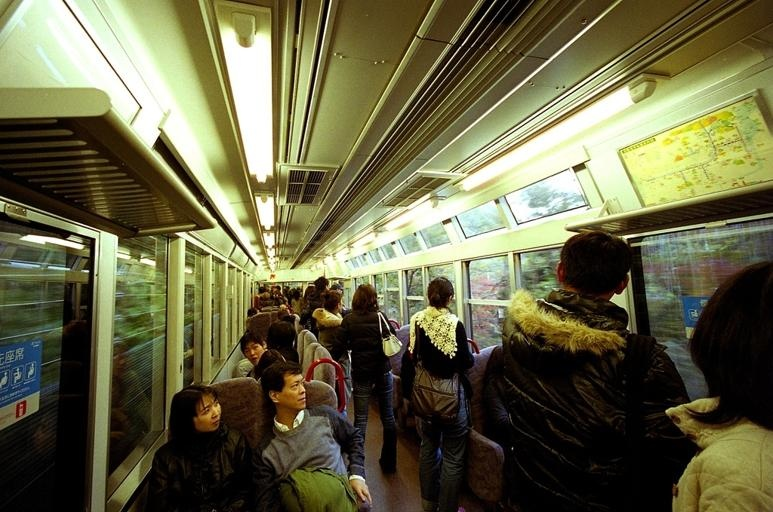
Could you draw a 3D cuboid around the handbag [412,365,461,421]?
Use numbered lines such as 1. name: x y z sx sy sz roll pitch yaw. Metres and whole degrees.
1. handbag: 0.419 1.107 3.829 0.384 0.472 0.247 -7 -32 24
